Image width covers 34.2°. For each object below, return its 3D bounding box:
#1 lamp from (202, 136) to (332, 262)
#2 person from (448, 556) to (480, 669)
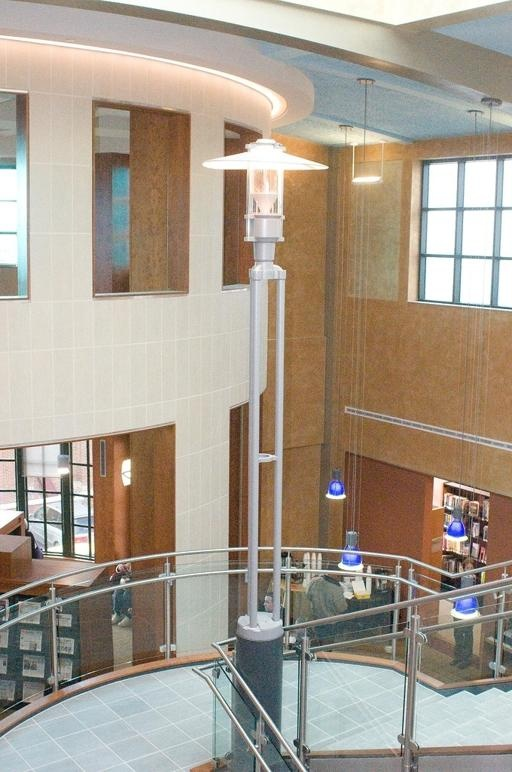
[{"bbox_3d":[0.062,-1.099,5.025,0.747,0.724,0.761,7,14,34],"label":"lamp"},{"bbox_3d":[1.994,2.109,7.623,0.254,0.746,0.245,-9,-3,-17],"label":"person"}]
